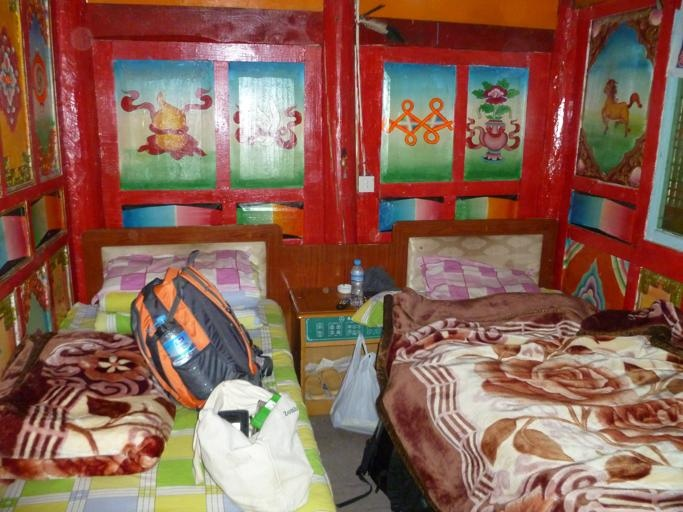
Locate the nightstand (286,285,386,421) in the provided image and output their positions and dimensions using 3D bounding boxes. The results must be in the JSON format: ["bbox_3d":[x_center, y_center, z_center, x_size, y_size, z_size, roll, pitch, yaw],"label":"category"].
[{"bbox_3d":[-0.160,0.566,3.583,0.881,0.822,0.683,-2,8,-15],"label":"nightstand"}]

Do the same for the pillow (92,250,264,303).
[{"bbox_3d":[-0.984,0.096,3.207,0.733,0.143,0.450,0,17,-5],"label":"pillow"}]
